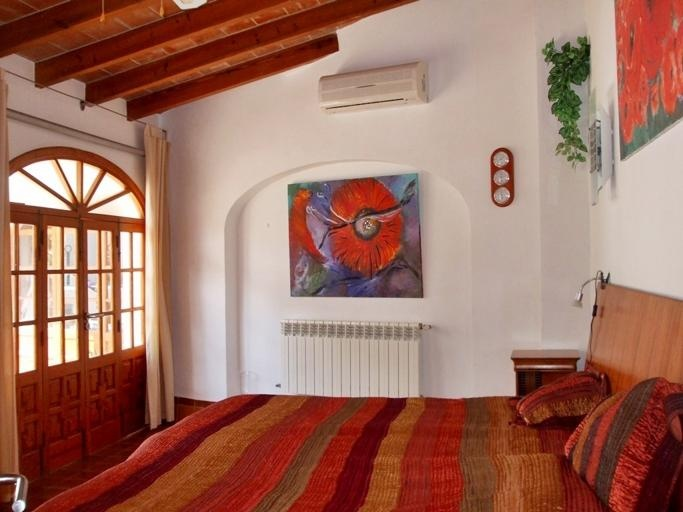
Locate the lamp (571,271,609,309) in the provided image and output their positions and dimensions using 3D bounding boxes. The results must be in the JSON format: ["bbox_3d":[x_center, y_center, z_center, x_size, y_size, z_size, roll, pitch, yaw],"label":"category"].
[{"bbox_3d":[1.758,0.240,3.915,0.388,0.239,0.107,-13,19,-29],"label":"lamp"}]

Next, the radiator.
[{"bbox_3d":[0.100,1.011,5.446,1.398,0.763,0.503,3,1,23],"label":"radiator"}]

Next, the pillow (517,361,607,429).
[{"bbox_3d":[1.274,0.798,3.203,0.524,0.172,0.379,-25,-4,20],"label":"pillow"}]

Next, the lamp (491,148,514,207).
[{"bbox_3d":[1.397,-0.683,4.874,0.189,0.541,0.055,-3,-11,22],"label":"lamp"}]

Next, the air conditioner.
[{"bbox_3d":[0.276,-1.574,5.207,0.989,0.438,0.363,0,10,25],"label":"air conditioner"}]
